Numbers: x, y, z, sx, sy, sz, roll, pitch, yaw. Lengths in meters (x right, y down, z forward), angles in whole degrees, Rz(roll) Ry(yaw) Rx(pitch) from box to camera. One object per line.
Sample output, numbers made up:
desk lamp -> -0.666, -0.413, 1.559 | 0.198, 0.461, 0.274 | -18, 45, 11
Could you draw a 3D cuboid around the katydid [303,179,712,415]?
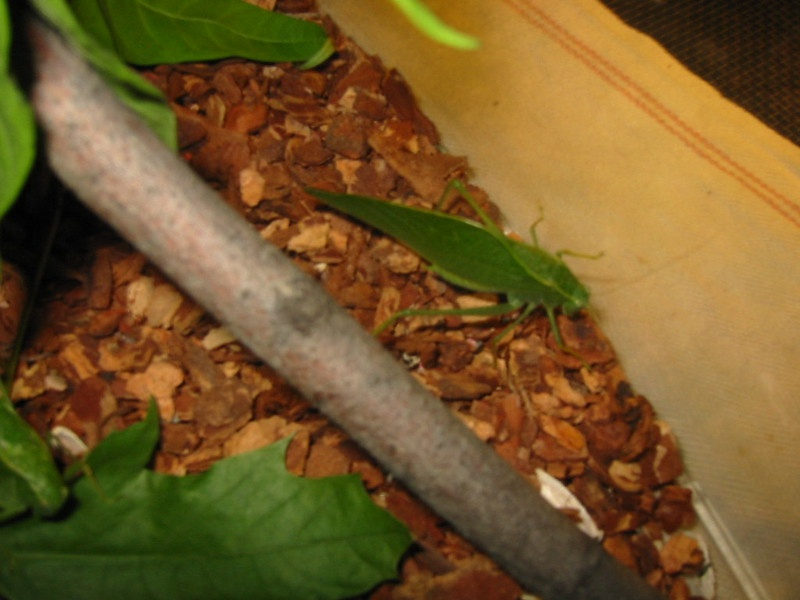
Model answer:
katydid -> 0.107, -0.028, 1.316 | 0.405, 0.134, 0.268 | 15, 66, -21
